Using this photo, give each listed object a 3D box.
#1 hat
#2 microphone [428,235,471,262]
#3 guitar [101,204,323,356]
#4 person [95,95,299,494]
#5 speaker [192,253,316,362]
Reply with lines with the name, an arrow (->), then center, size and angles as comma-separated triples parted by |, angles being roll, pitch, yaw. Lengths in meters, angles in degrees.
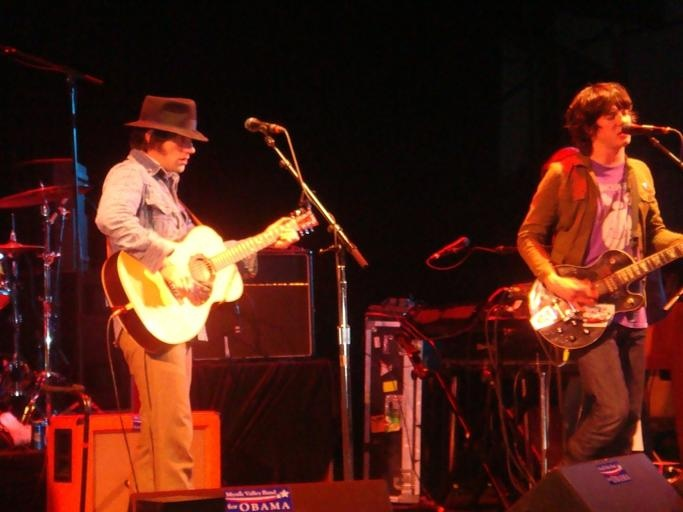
hat -> -1.044, -0.830, 4.683 | 0.546, 0.298, 0.534 | 6, 9, 26
microphone -> 0.900, -0.059, 6.322 | 0.386, 0.107, 0.114 | -23, 2, 3
guitar -> -0.776, 0.105, 4.498 | 0.169, 0.521, 1.193 | -18, 15, 46
person -> -1.002, 0.187, 4.487 | 0.458, 2.295, 0.954 | -10, -16, 41
speaker -> -0.638, 0.354, 5.667 | 0.328, 0.885, 0.957 | -4, -4, 38
